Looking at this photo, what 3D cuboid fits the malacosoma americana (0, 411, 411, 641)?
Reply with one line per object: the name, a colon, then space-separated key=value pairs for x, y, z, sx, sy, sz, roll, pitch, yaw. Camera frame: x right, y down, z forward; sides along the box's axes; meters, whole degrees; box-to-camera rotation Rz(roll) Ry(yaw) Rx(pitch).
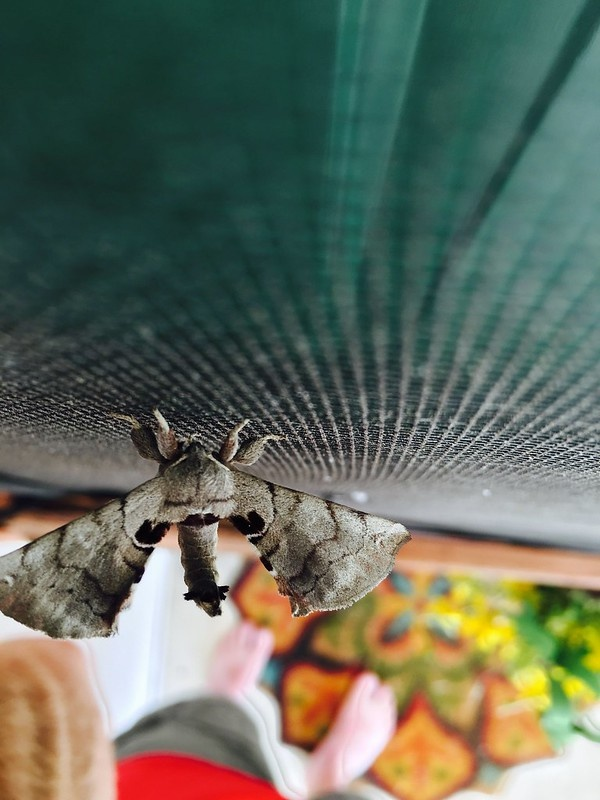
malacosoma americana: x=-0.101 y=0.110 z=0.699 sx=0.514 sy=0.193 sz=0.121 roll=-2 pitch=20 yaw=-5
